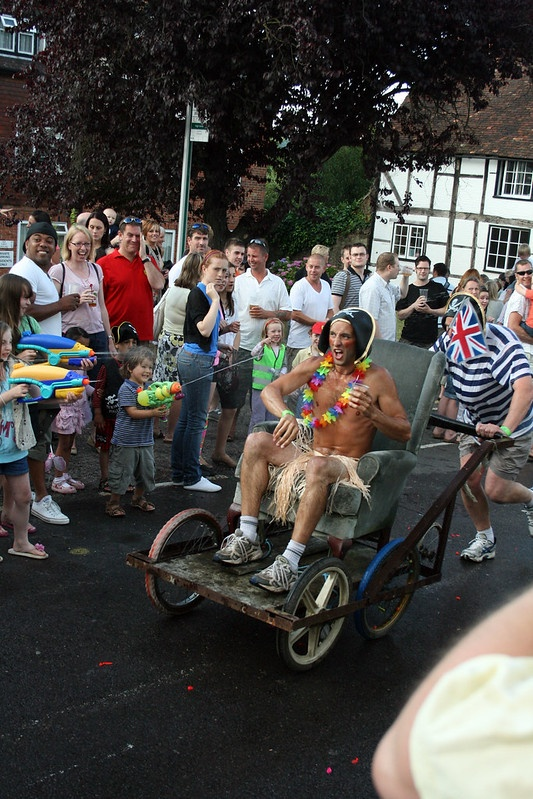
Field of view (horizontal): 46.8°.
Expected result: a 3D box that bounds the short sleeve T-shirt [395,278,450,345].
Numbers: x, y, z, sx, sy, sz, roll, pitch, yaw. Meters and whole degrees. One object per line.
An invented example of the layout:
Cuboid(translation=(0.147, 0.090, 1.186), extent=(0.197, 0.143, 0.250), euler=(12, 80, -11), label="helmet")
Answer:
Cuboid(translation=(2.472, -1.382, 9.873), extent=(0.959, 1.074, 0.701), euler=(5, 29, 20), label="short sleeve T-shirt")

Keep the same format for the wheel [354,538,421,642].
Cuboid(translation=(0.801, 1.268, 4.021), extent=(0.160, 0.690, 0.730), euler=(17, 15, 39), label="wheel")

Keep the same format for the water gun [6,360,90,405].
Cuboid(translation=(-1.582, -0.112, 4.206), extent=(0.681, 0.353, 0.182), euler=(-3, 16, -29), label="water gun")

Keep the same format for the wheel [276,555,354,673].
Cuboid(translation=(0.268, 1.241, 3.525), extent=(0.119, 0.687, 0.726), euler=(9, 8, 37), label="wheel")

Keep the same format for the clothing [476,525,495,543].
Cuboid(translation=(1.937, 1.209, 5.463), extent=(0.078, 0.144, 0.217), euler=(-6, -8, 34), label="clothing")

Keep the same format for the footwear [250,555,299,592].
Cuboid(translation=(0.083, 1.024, 3.589), extent=(0.127, 0.151, 0.324), euler=(6, -1, 45), label="footwear")

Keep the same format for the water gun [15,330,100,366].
Cuboid(translation=(-1.548, -0.364, 4.504), extent=(0.763, 0.310, 0.190), euler=(3, 7, -20), label="water gun")

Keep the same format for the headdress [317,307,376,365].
Cuboid(translation=(0.613, -0.464, 4.368), extent=(0.409, 0.383, 0.372), euler=(12, 23, 18), label="headdress")

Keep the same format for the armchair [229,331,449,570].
Cuboid(translation=(0.533, 0.335, 4.440), extent=(1.197, 1.578, 1.135), euler=(13, 7, 22), label="armchair")

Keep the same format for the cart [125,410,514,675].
Cuboid(translation=(0.319, 0.923, 4.094), extent=(2.048, 1.175, 1.321), euler=(-5, 9, -45), label="cart")

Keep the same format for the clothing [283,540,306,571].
Cuboid(translation=(0.162, 0.911, 3.628), extent=(0.082, 0.160, 0.239), euler=(4, 3, 18), label="clothing")

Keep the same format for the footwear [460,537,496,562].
Cuboid(translation=(1.871, 1.331, 5.481), extent=(0.383, 0.205, 0.156), euler=(-1, 0, -32), label="footwear")

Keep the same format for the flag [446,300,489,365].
Cuboid(translation=(1.509, -0.523, 4.683), extent=(0.343, 0.535, 0.039), euler=(3, 37, 24), label="flag")

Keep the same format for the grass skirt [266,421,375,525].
Cuboid(translation=(0.343, 0.521, 4.037), extent=(0.588, 0.542, 0.676), euler=(16, 13, 27), label="grass skirt")

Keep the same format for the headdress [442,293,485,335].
Cuboid(translation=(1.564, -0.720, 4.837), extent=(0.365, 0.437, 0.179), euler=(1, 5, 1), label="headdress")
